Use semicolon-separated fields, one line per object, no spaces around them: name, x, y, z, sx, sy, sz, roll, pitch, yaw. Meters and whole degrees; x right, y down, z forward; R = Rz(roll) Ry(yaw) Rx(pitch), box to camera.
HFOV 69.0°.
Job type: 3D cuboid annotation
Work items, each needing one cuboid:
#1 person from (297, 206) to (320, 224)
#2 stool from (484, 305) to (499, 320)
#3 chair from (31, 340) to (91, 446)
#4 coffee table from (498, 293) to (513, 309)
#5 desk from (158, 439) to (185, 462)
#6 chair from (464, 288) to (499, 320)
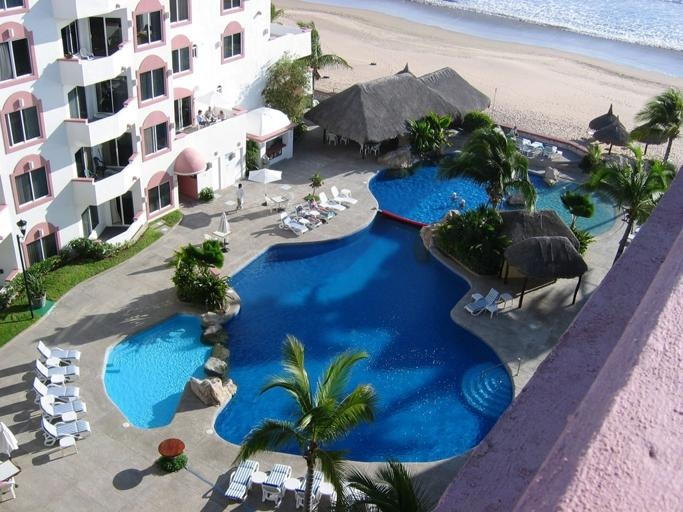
person;-2.249;-2.999;34.898;1.873;0.769;1.308;25;29;35
stool;8.489;2.935;27.990;0.675;0.692;0.693;-31;50;-27
chair;-12.062;5.892;21.241;1.200;0.803;3.682;-6;39;-21
coffee table;9.449;2.443;28.822;0.781;0.750;0.782;-23;40;-21
desk;-6.665;7.514;19.346;0.927;0.815;0.900;3;23;-10
chair;7.963;2.544;28.270;1.523;0.913;1.540;-17;44;-11
